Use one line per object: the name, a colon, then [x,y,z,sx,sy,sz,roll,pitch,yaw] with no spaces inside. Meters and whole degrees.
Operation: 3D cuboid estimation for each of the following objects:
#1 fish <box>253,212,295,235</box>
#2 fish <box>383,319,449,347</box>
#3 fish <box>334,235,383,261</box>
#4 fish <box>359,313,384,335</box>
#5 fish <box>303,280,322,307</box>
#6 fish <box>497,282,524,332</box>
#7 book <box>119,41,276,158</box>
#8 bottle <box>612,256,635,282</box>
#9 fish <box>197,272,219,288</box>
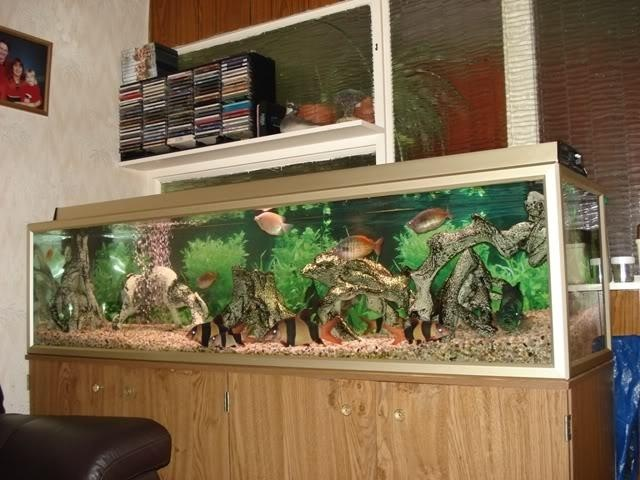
fish: [-0.219,-0.074,2.865,0.185,0.116,0.017,-4,-4,25]
fish: [0.404,0.390,2.560,0.251,0.099,0.093,-3,-3,14]
fish: [0.170,0.033,2.705,0.226,0.107,0.028,-5,-4,31]
fish: [0.233,0.374,2.687,0.096,0.080,0.004,-4,-4,19]
fish: [-0.045,0.248,2.781,0.080,0.111,0.026,-4,-3,19]
fish: [0.814,0.288,2.517,0.128,0.052,0.217,-32,6,40]
book: [-0.789,-0.844,3.963,1.138,0.535,0.252,-4,-4,22]
bottle: [1.499,0.148,3.042,0.119,0.127,0.118,-6,-12,36]
fish: [-0.557,0.204,3.048,0.128,0.080,0.014,-5,-4,35]
